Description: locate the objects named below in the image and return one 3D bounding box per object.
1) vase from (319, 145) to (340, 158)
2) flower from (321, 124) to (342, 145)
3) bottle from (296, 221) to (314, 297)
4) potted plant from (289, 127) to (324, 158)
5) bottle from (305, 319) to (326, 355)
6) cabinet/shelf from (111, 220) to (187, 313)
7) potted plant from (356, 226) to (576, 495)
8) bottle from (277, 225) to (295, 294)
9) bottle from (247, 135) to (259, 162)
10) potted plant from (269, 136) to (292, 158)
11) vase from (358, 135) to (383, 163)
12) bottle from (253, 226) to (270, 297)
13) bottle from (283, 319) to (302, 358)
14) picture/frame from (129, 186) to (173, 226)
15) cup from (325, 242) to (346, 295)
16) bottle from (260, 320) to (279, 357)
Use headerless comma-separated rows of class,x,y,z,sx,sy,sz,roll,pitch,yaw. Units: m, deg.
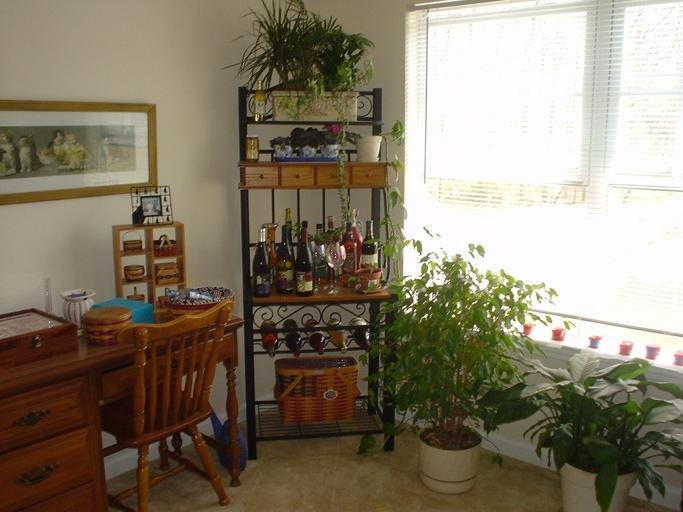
vase,-0.064,-0.584,2.948,0.080,0.060,0.074,-3,9,-16
flower,-0.048,-0.682,2.946,0.100,0.102,0.100,15,23,38
bottle,-0.219,0.011,2.961,0.104,0.408,0.166,-4,9,-3
potted plant,-0.195,-0.634,2.948,0.202,0.169,0.062,-6,10,-20
bottle,-0.153,0.495,3.137,0.117,0.212,0.255,-4,9,-3
cabinet/shelf,-1.042,0.061,2.805,0.447,0.626,0.163,-4,8,-27
potted plant,0.708,0.582,2.833,1.075,1.537,0.869,7,18,24
bottle,-0.320,0.019,2.978,0.116,0.385,0.098,-7,10,-25
bottle,-0.504,-0.596,2.938,0.072,0.134,0.029,-2,9,5
potted plant,-0.338,-0.602,2.993,0.142,0.141,0.116,-1,7,0
vase,0.157,-0.603,2.994,0.151,0.144,0.140,2,5,14
bottle,-0.454,0.030,2.958,0.103,0.372,0.163,-4,9,-8
bottle,-0.291,0.485,3.138,0.101,0.206,0.254,-4,9,-5
picture/frame,-1.053,-0.267,2.866,0.226,0.221,0.017,-6,4,-42
cup,-0.031,0.055,3.075,0.121,0.285,0.265,-3,9,-1
bottle,-0.420,0.475,3.047,0.096,0.159,0.216,-4,9,-7
